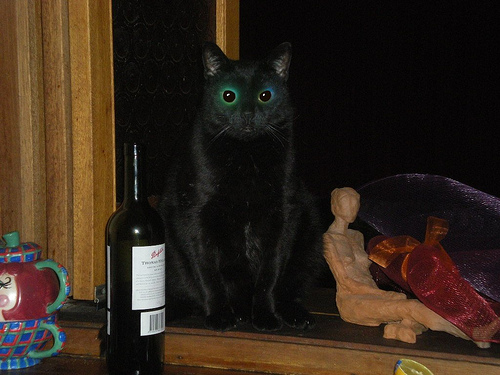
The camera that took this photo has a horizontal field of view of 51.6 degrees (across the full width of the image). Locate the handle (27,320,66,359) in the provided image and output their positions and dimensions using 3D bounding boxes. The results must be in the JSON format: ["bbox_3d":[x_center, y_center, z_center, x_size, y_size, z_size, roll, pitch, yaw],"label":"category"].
[{"bbox_3d":[-0.496,0.369,1.252,0.086,0.105,0.065,-3,-8,41],"label":"handle"}]

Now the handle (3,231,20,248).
[{"bbox_3d":[-0.562,0.126,1.233,0.030,0.029,0.039,-1,-4,6],"label":"handle"}]

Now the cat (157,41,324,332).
[{"bbox_3d":[-0.033,0.011,1.404,0.487,0.714,0.441,-3,10,-16],"label":"cat"}]

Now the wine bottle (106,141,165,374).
[{"bbox_3d":[-0.264,0.168,1.217,0.147,0.532,0.091,3,-6,-16],"label":"wine bottle"}]
